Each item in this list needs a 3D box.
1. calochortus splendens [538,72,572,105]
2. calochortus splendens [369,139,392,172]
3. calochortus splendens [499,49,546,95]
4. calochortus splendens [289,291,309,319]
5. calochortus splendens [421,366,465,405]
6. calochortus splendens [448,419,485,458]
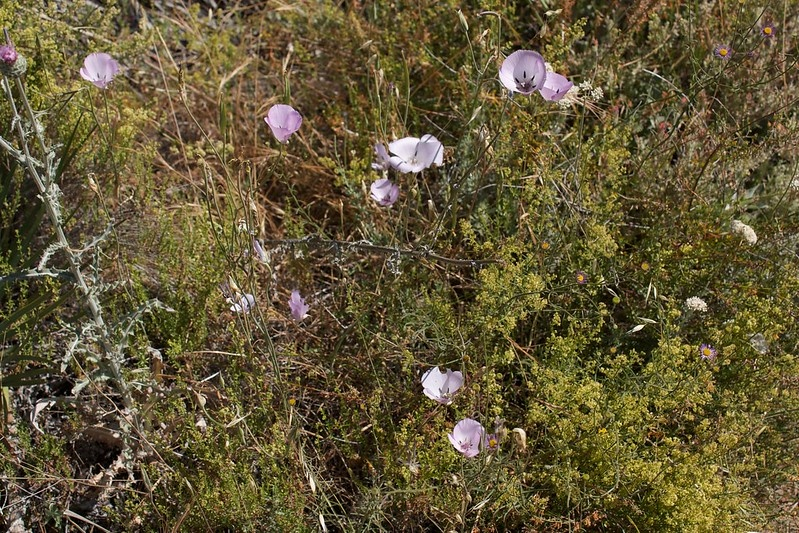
[{"bbox_3d":[0.780,-0.891,4.062,0.146,0.100,0.161,26,48,21],"label":"calochortus splendens"},{"bbox_3d":[-0.092,-0.567,4.226,0.075,0.144,0.138,7,53,2],"label":"calochortus splendens"},{"bbox_3d":[0.595,-0.918,3.955,0.221,0.108,0.217,3,72,6],"label":"calochortus splendens"},{"bbox_3d":[-0.519,0.178,4.264,0.117,0.151,0.079,8,37,-16],"label":"calochortus splendens"},{"bbox_3d":[0.213,0.593,4.055,0.178,0.208,0.198,36,78,16],"label":"calochortus splendens"},{"bbox_3d":[0.325,0.822,3.914,0.167,0.098,0.166,-40,67,-6],"label":"calochortus splendens"}]
